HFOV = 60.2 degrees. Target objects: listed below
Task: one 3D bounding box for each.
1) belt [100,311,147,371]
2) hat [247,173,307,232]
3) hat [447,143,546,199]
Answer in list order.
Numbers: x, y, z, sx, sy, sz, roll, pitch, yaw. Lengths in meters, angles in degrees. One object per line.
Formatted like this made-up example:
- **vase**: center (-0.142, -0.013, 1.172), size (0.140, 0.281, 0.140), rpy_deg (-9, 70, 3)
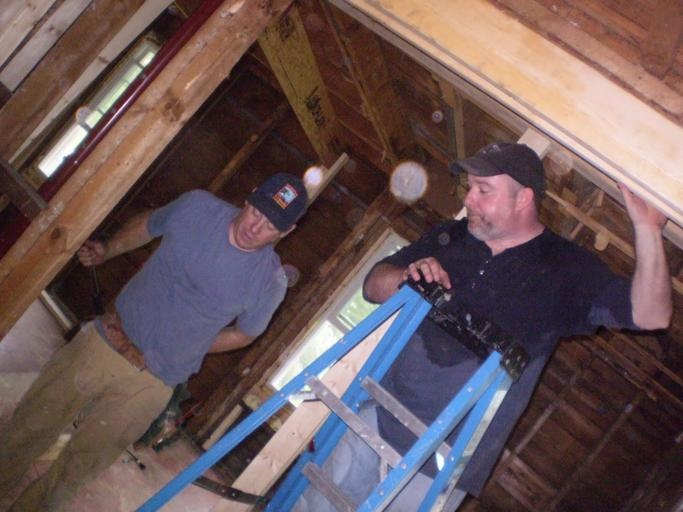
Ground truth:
- **belt**: center (-1.394, 0.534, 3.731), size (0.342, 0.111, 0.252), rpy_deg (58, -16, -26)
- **hat**: center (-0.395, -0.366, 3.863), size (0.284, 0.217, 0.411), rpy_deg (43, 27, -12)
- **hat**: center (0.863, -0.473, 3.255), size (0.381, 0.212, 0.288), rpy_deg (23, 8, -9)
